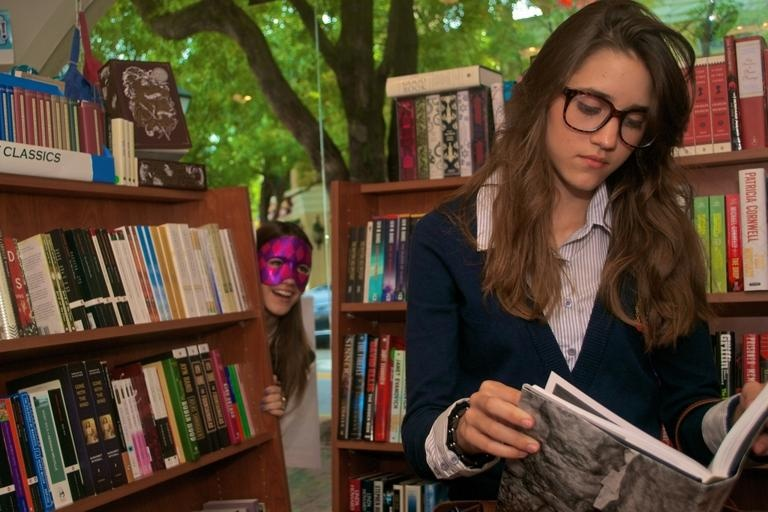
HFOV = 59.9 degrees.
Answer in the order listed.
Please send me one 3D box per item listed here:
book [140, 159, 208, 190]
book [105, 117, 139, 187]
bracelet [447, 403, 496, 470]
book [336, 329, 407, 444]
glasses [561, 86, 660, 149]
[{"bbox_3d":[-0.889,-0.347,2.833,0.048,0.135,0.366,-3,5,27],"label":"book"},{"bbox_3d":[-1.022,-0.408,2.632,0.048,0.263,0.119,-1,6,38],"label":"book"},{"bbox_3d":[0.192,0.442,1.630,0.052,0.149,0.136,-10,16,24],"label":"bracelet"},{"bbox_3d":[-0.035,0.627,3.417,0.397,0.712,0.562,1,-9,6],"label":"book"},{"bbox_3d":[0.611,-0.376,1.802,0.259,0.176,0.090,-6,5,-18],"label":"glasses"}]
